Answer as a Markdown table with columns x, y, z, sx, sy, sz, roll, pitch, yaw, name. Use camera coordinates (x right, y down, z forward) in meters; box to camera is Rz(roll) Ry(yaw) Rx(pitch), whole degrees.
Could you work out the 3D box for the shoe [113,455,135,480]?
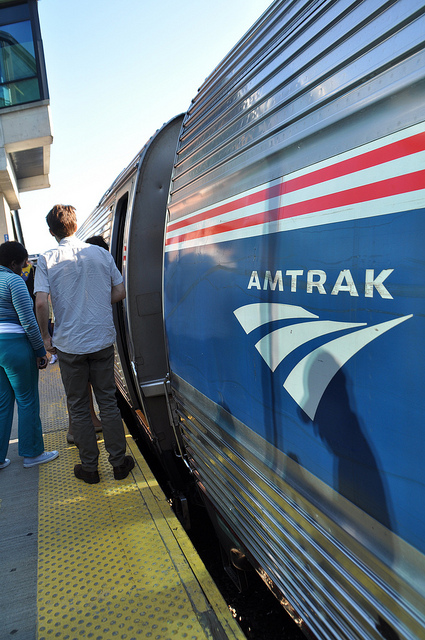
| x | y | z | sx | sy | sz | roll | pitch | yaw | name |
| --- | --- | --- | --- | --- | --- | --- | --- | --- | --- |
| -0.683 | 1.184 | 3.014 | 0.075 | 0.096 | 0.223 | -2 | 19 | 6 | shoe |
